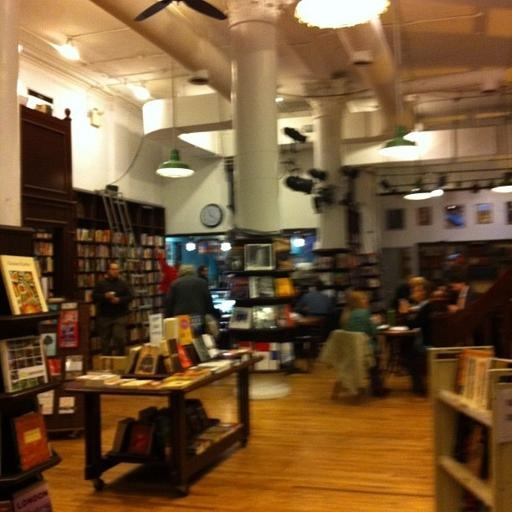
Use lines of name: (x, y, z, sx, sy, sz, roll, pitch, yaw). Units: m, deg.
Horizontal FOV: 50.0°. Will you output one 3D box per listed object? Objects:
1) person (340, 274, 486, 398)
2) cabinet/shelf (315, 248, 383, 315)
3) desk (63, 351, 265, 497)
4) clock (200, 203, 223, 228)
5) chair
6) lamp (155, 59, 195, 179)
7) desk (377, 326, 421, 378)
person: (1.689, 0.891, 6.078, 1.386, 1.933, 0.837, 4, -21, 2)
cabinet/shelf: (1.346, 0.434, 9.609, 1.376, 1.096, 1.234, -3, -2, 45)
desk: (-0.664, 1.327, 4.362, 0.920, 0.637, 1.545, -6, -8, 16)
clock: (-1.049, -0.955, 12.868, 0.570, 0.599, 0.065, -1, -1, 20)
chair: (1.037, 1.223, 6.324, 0.595, 0.728, 0.258, 0, -1, 10)
lamp: (-1.342, -2.282, 8.832, 0.888, 1.837, 0.775, -1, 23, -9)
desk: (1.634, 1.189, 6.874, 0.720, 0.551, 0.665, -1, -1, 22)
